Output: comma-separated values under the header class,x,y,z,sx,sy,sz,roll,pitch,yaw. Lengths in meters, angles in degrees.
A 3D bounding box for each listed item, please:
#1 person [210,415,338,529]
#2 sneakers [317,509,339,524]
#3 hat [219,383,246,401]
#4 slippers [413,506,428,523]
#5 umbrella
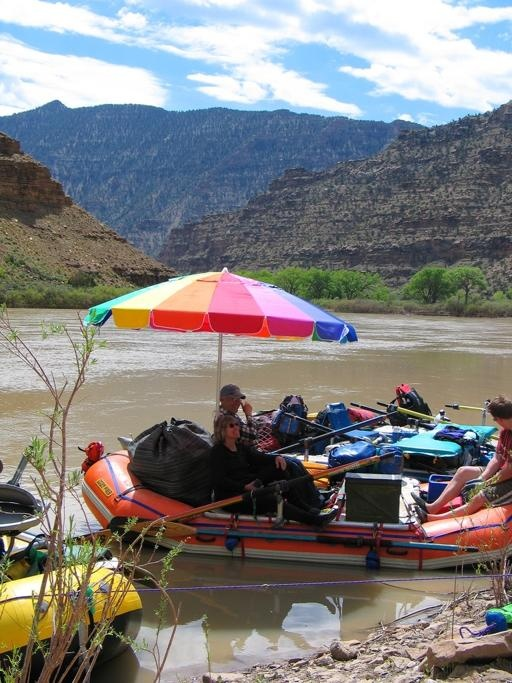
class,x,y,z,sx,sy,sz,roll,pitch,yaw
person,0.116,0.983,5.717,1.055,0.643,0.492,7,11,21
sneakers,0.534,1.315,5.603,0.099,0.101,0.208,3,5,20
hat,-0.202,0.421,6.249,0.197,0.095,0.126,2,2,-23
slippers,1.293,1.369,5.869,0.058,0.164,0.072,-7,-29,-21
umbrella,-0.220,0.022,5.880,1.148,0.663,1.174,2,3,-43
